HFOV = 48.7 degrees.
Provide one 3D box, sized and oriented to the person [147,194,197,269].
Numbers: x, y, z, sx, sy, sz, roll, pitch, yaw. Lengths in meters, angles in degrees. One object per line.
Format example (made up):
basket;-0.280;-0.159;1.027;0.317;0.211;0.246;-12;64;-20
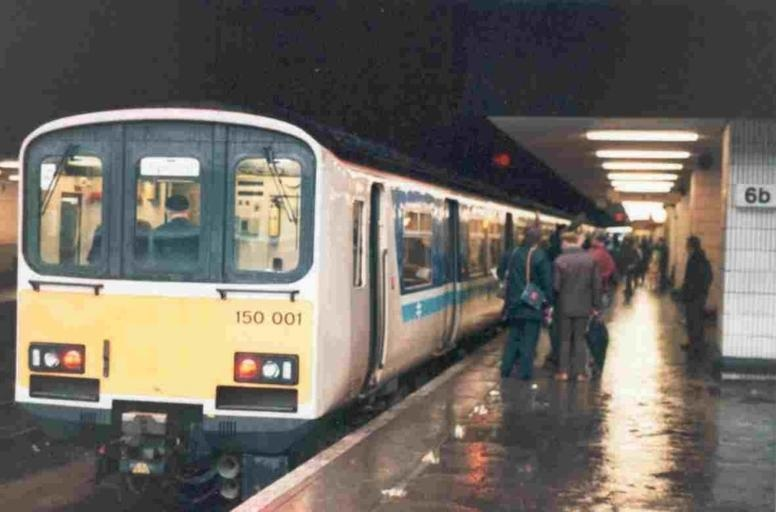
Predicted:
person;-2.401;-0.457;9.483;0.627;0.549;1.074;4;-34;-15
